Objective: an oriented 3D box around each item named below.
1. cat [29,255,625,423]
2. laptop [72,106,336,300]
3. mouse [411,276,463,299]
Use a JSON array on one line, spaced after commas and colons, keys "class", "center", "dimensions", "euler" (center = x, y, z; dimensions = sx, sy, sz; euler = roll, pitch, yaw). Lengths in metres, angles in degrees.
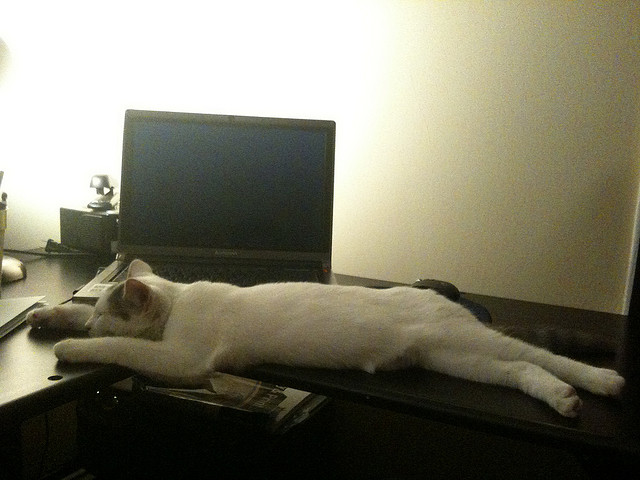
[{"class": "cat", "center": [-0.020, 0.217, 1.124], "dimensions": [1.062, 0.196, 0.257], "euler": [7, 6, 5]}, {"class": "laptop", "center": [-0.248, -0.089, 1.299], "dimensions": [0.619, 0.404, 0.430], "euler": [3, 13, 0]}, {"class": "mouse", "center": [0.308, 0.119, 1.344], "dimensions": [0.093, 0.030, 0.075], "euler": [16, 16, 39]}]
